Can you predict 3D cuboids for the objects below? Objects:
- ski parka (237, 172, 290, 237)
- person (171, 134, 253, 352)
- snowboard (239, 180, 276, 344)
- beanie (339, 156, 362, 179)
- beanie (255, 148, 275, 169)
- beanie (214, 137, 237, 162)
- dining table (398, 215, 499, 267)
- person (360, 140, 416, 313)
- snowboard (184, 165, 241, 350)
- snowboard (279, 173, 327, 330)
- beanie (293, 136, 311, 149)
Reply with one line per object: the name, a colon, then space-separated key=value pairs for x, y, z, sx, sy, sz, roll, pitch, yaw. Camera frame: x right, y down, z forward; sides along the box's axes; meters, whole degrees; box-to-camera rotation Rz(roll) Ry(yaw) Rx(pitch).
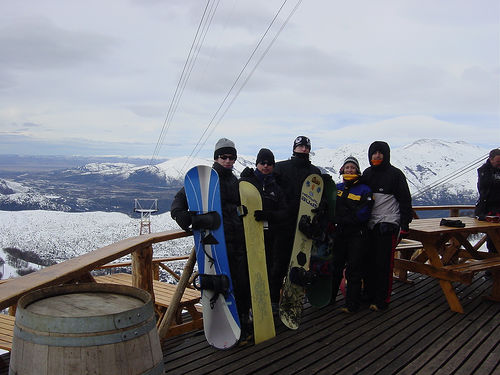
ski parka: x=0.183 y=0.168 z=4.093 sx=0.477 sy=0.797 sz=0.155 roll=-10 pitch=5 yaw=-37
person: x=-0.383 y=0.507 z=3.683 sx=0.730 sy=2.356 sz=0.443 roll=-1 pitch=-5 yaw=3
snowboard: x=0.062 y=0.805 z=3.666 sx=0.301 sy=1.810 sz=0.145 roll=-2 pitch=-10 yaw=-32
beanie: x=1.264 y=-0.271 z=4.444 sx=0.226 sy=0.212 sz=0.229 roll=9 pitch=0 yaw=14
beanie: x=0.169 y=-0.345 z=4.056 sx=0.218 sy=0.204 sz=0.286 roll=3 pitch=6 yaw=0
beanie: x=-0.257 y=-0.393 z=3.675 sx=0.241 sy=0.242 sz=0.206 roll=2 pitch=6 yaw=-4
dining table: x=3.026 y=0.833 z=5.335 sx=1.183 sy=0.300 sz=1.107 roll=-3 pitch=6 yaw=-27
person: x=1.746 y=0.491 z=4.572 sx=0.493 sy=2.173 sz=0.581 roll=2 pitch=7 yaw=-8
snowboard: x=-0.347 y=0.663 z=3.604 sx=0.530 sy=1.905 sz=0.356 roll=-8 pitch=-3 yaw=-7
snowboard: x=0.615 y=0.704 z=4.222 sx=0.501 sy=1.836 sz=0.293 roll=15 pitch=-13 yaw=-25
beanie: x=0.617 y=-0.567 z=4.364 sx=0.161 sy=0.156 sz=0.216 roll=6 pitch=12 yaw=-41
